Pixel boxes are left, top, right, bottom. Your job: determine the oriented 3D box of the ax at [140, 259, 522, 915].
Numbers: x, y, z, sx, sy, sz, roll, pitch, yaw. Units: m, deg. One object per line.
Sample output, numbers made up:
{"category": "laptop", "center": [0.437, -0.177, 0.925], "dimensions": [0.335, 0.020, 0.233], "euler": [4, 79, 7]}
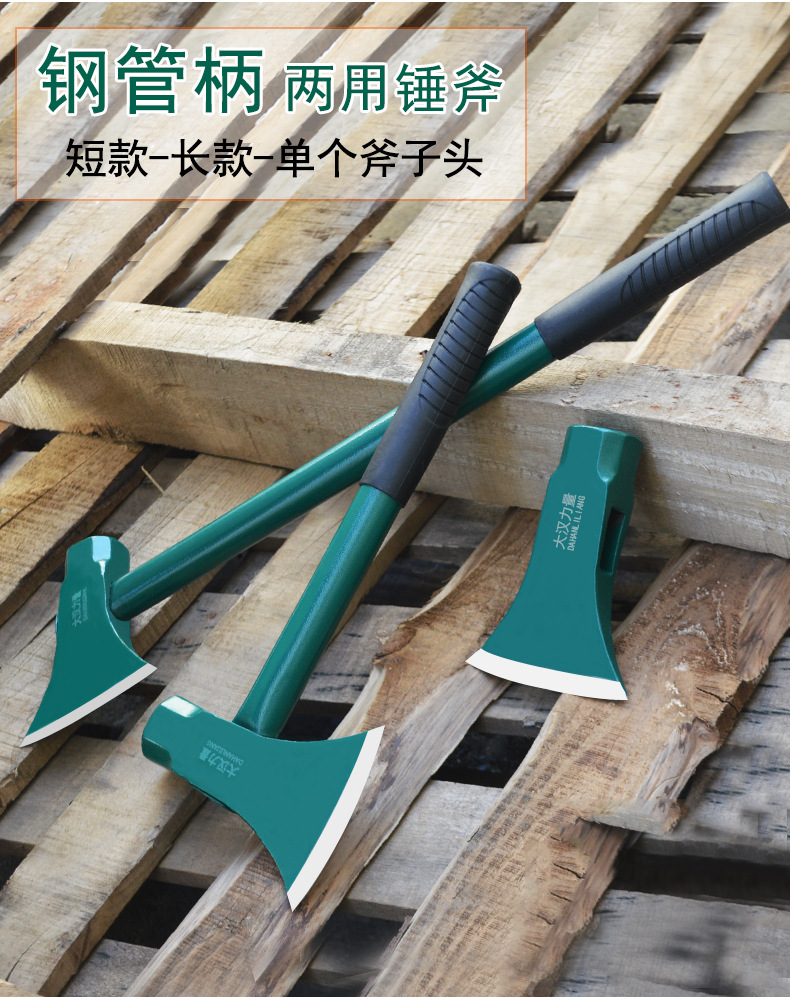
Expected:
{"category": "ax", "center": [0.021, 0.060, 1.054], "dimensions": [0.248, 0.064, 0.676], "euler": [29, 66, 16]}
